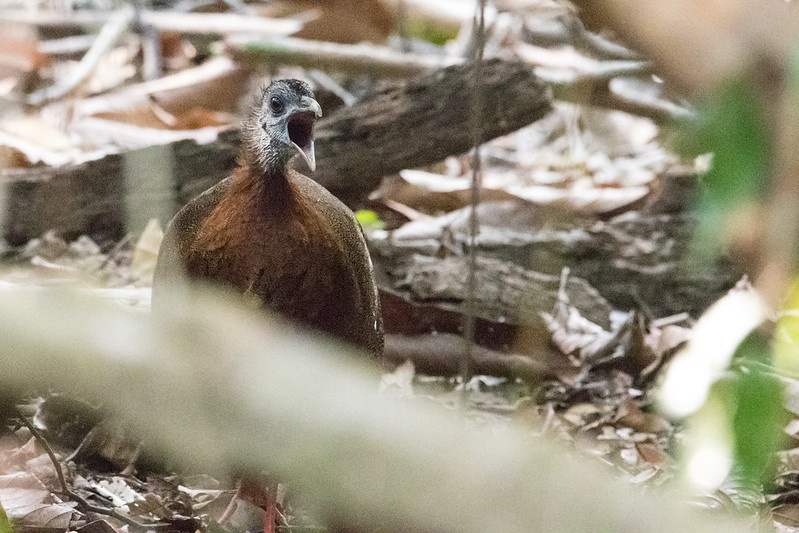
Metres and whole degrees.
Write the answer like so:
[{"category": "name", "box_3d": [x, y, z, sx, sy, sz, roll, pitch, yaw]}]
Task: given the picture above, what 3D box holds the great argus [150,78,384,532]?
[{"category": "great argus", "box_3d": [-0.209, -0.081, 1.910, 0.388, 0.503, 0.326, 3, 31, -1]}]
